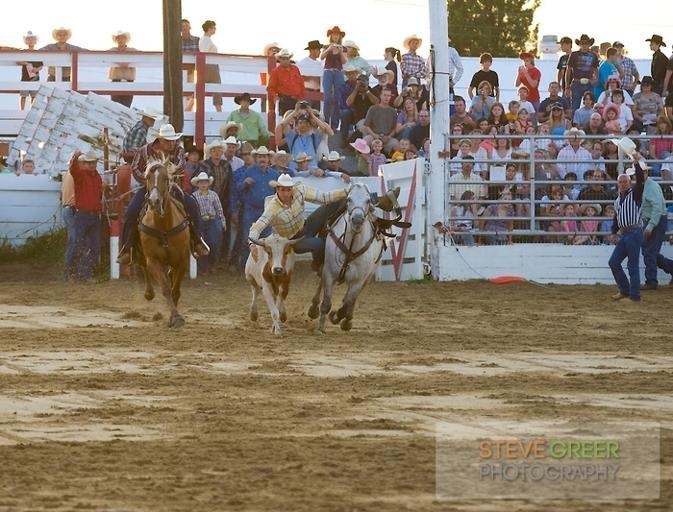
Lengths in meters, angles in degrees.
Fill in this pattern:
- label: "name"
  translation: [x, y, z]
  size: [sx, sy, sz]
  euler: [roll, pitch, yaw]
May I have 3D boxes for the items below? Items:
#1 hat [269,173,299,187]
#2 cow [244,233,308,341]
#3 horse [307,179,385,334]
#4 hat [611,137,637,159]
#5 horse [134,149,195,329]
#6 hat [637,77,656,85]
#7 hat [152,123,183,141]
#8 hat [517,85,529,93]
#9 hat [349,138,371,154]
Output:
- label: "hat"
  translation: [-0.849, -1.320, 25.759]
  size: [0.374, 0.174, 0.417]
  euler: [2, -8, -8]
- label: "cow"
  translation: [-1.078, 0.387, 25.600]
  size: [0.767, 1.577, 2.020]
  euler: [1, 4, -4]
- label: "horse"
  translation: [0.155, -0.020, 25.659]
  size: [1.170, 2.429, 1.714]
  euler: [1, 4, 5]
- label: "hat"
  translation: [5.546, -2.147, 30.622]
  size: [0.412, 0.268, 0.423]
  euler: [17, 21, -1]
- label: "horse"
  translation: [-2.842, -0.269, 26.305]
  size: [0.903, 2.725, 2.102]
  euler: [1, 4, -5]
- label: "hat"
  translation: [6.828, -3.925, 34.902]
  size: [0.473, 0.199, 0.655]
  euler: [2, 9, 8]
- label: "hat"
  translation: [-2.828, -2.093, 26.489]
  size: [0.398, 0.192, 0.470]
  euler: [0, 6, -15]
- label: "hat"
  translation: [4.035, -3.689, 34.364]
  size: [0.165, 0.185, 0.234]
  euler: [2, -11, 7]
- label: "hat"
  translation: [0.480, -2.381, 33.132]
  size: [0.306, 0.133, 0.345]
  euler: [22, 17, -40]
